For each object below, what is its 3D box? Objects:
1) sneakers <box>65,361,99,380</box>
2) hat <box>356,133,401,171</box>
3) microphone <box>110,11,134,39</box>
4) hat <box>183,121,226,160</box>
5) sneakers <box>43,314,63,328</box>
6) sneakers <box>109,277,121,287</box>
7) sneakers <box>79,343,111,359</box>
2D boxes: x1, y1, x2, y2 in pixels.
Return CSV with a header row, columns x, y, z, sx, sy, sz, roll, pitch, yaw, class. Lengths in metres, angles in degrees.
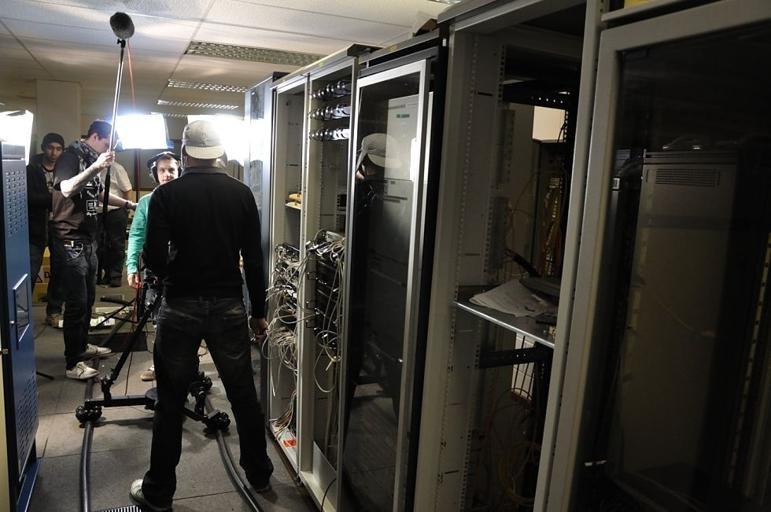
x,y,z,sx,sy,sz,roll,pitch,yaw,class
-2.406,0.927,4.548,0.303,0.127,0.126,4,0,15,sneakers
-0.022,-0.470,2.520,0.178,0.170,0.046,9,-1,15,hat
-1.658,-1.443,3.552,0.118,0.192,0.210,-3,14,-25,microphone
-1.006,-0.643,3.135,0.178,0.130,0.252,-4,21,-21,hat
-3.360,0.663,5.726,0.119,0.139,0.356,1,-1,-40,sneakers
-2.886,0.283,6.065,0.129,0.126,0.129,8,-8,-37,sneakers
-2.522,0.837,4.929,0.246,0.094,0.104,-6,12,-29,sneakers
